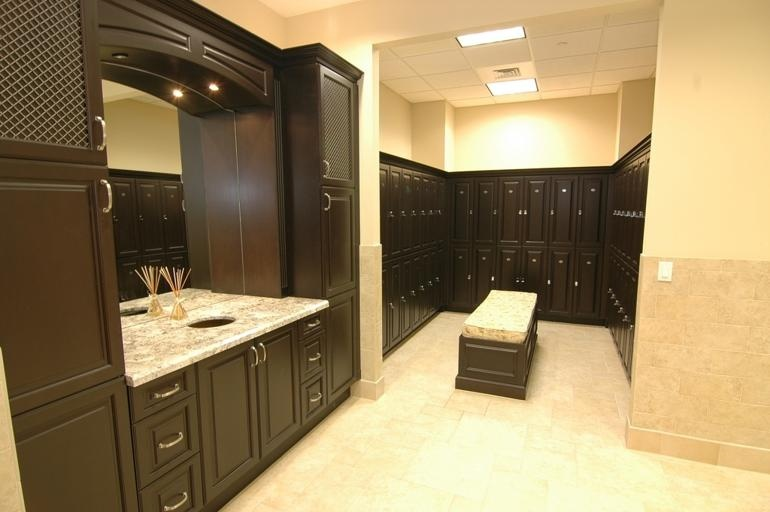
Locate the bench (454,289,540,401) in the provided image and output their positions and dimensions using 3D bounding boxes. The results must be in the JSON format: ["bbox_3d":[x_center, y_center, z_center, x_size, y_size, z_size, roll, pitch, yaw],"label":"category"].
[{"bbox_3d":[1.246,0.986,5.432,0.697,0.770,1.112,0,6,22],"label":"bench"}]
